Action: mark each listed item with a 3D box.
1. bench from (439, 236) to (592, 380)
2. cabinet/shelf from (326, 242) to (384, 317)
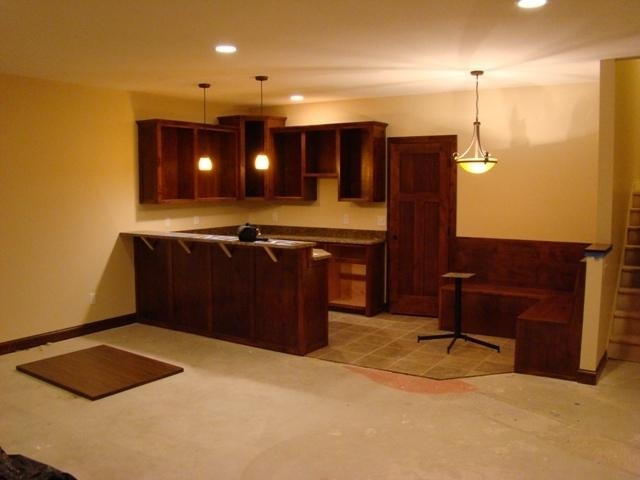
[{"bbox_3d":[2.212,0.659,6.254,1.727,1.269,1.881,4,11,24],"label":"bench"},{"bbox_3d":[0.444,0.555,7.937,1.100,1.072,0.410,2,4,41],"label":"cabinet/shelf"}]
